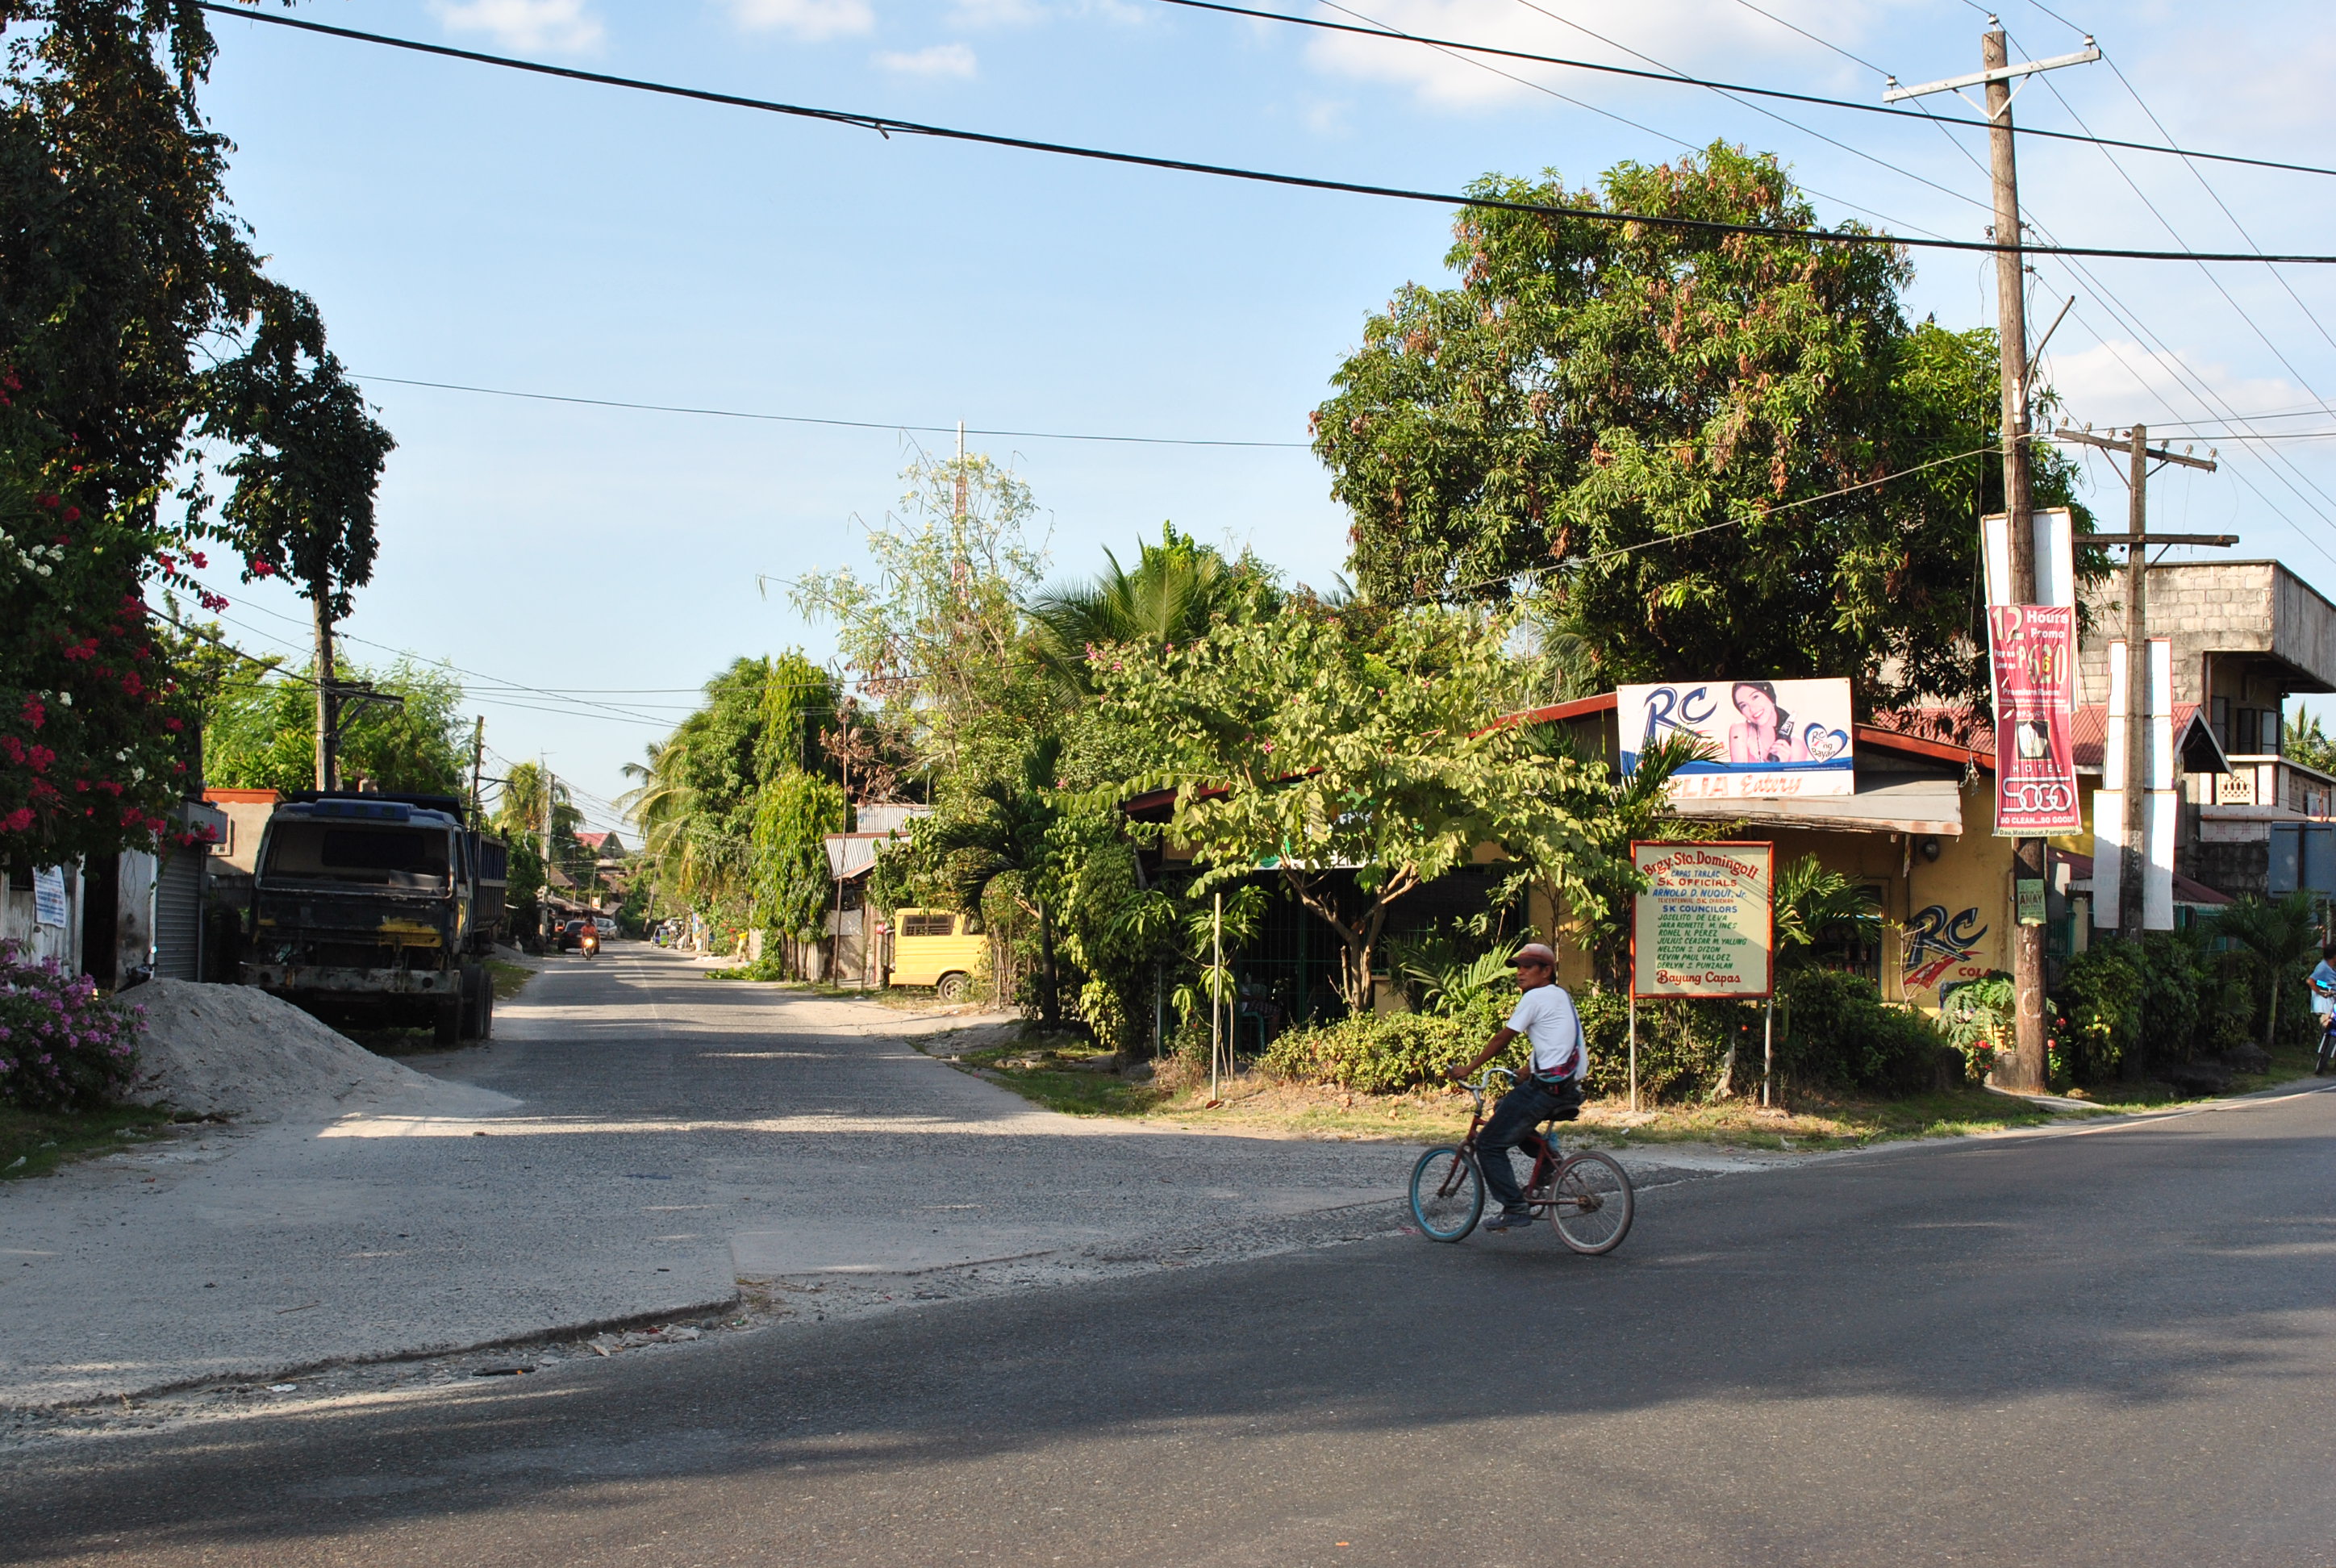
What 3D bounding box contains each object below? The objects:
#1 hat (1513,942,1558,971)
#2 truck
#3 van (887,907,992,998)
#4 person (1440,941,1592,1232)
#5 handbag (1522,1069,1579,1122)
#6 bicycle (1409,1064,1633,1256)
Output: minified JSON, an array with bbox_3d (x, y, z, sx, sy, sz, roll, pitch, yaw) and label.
[{"bbox_3d":[3.186,1.531,23.296,0.322,0.166,0.246,15,-1,2],"label":"hat"},{"bbox_3d":[-11.504,2.000,39.421,2.220,2.571,5.129,1,-8,-2],"label":"truck"},{"bbox_3d":[-5.457,3.934,60.841,2.898,1.887,1.872,-1,-1,6],"label":"van"},{"bbox_3d":[3.142,2.712,23.766,0.978,2.526,1.364,0,-5,6],"label":"person"},{"bbox_3d":[3.315,2.758,23.355,0.441,0.452,0.354,11,-4,8],"label":"handbag"},{"bbox_3d":[3.147,3.534,24.108,2.303,1.566,1.249,0,-5,26],"label":"bicycle"}]
